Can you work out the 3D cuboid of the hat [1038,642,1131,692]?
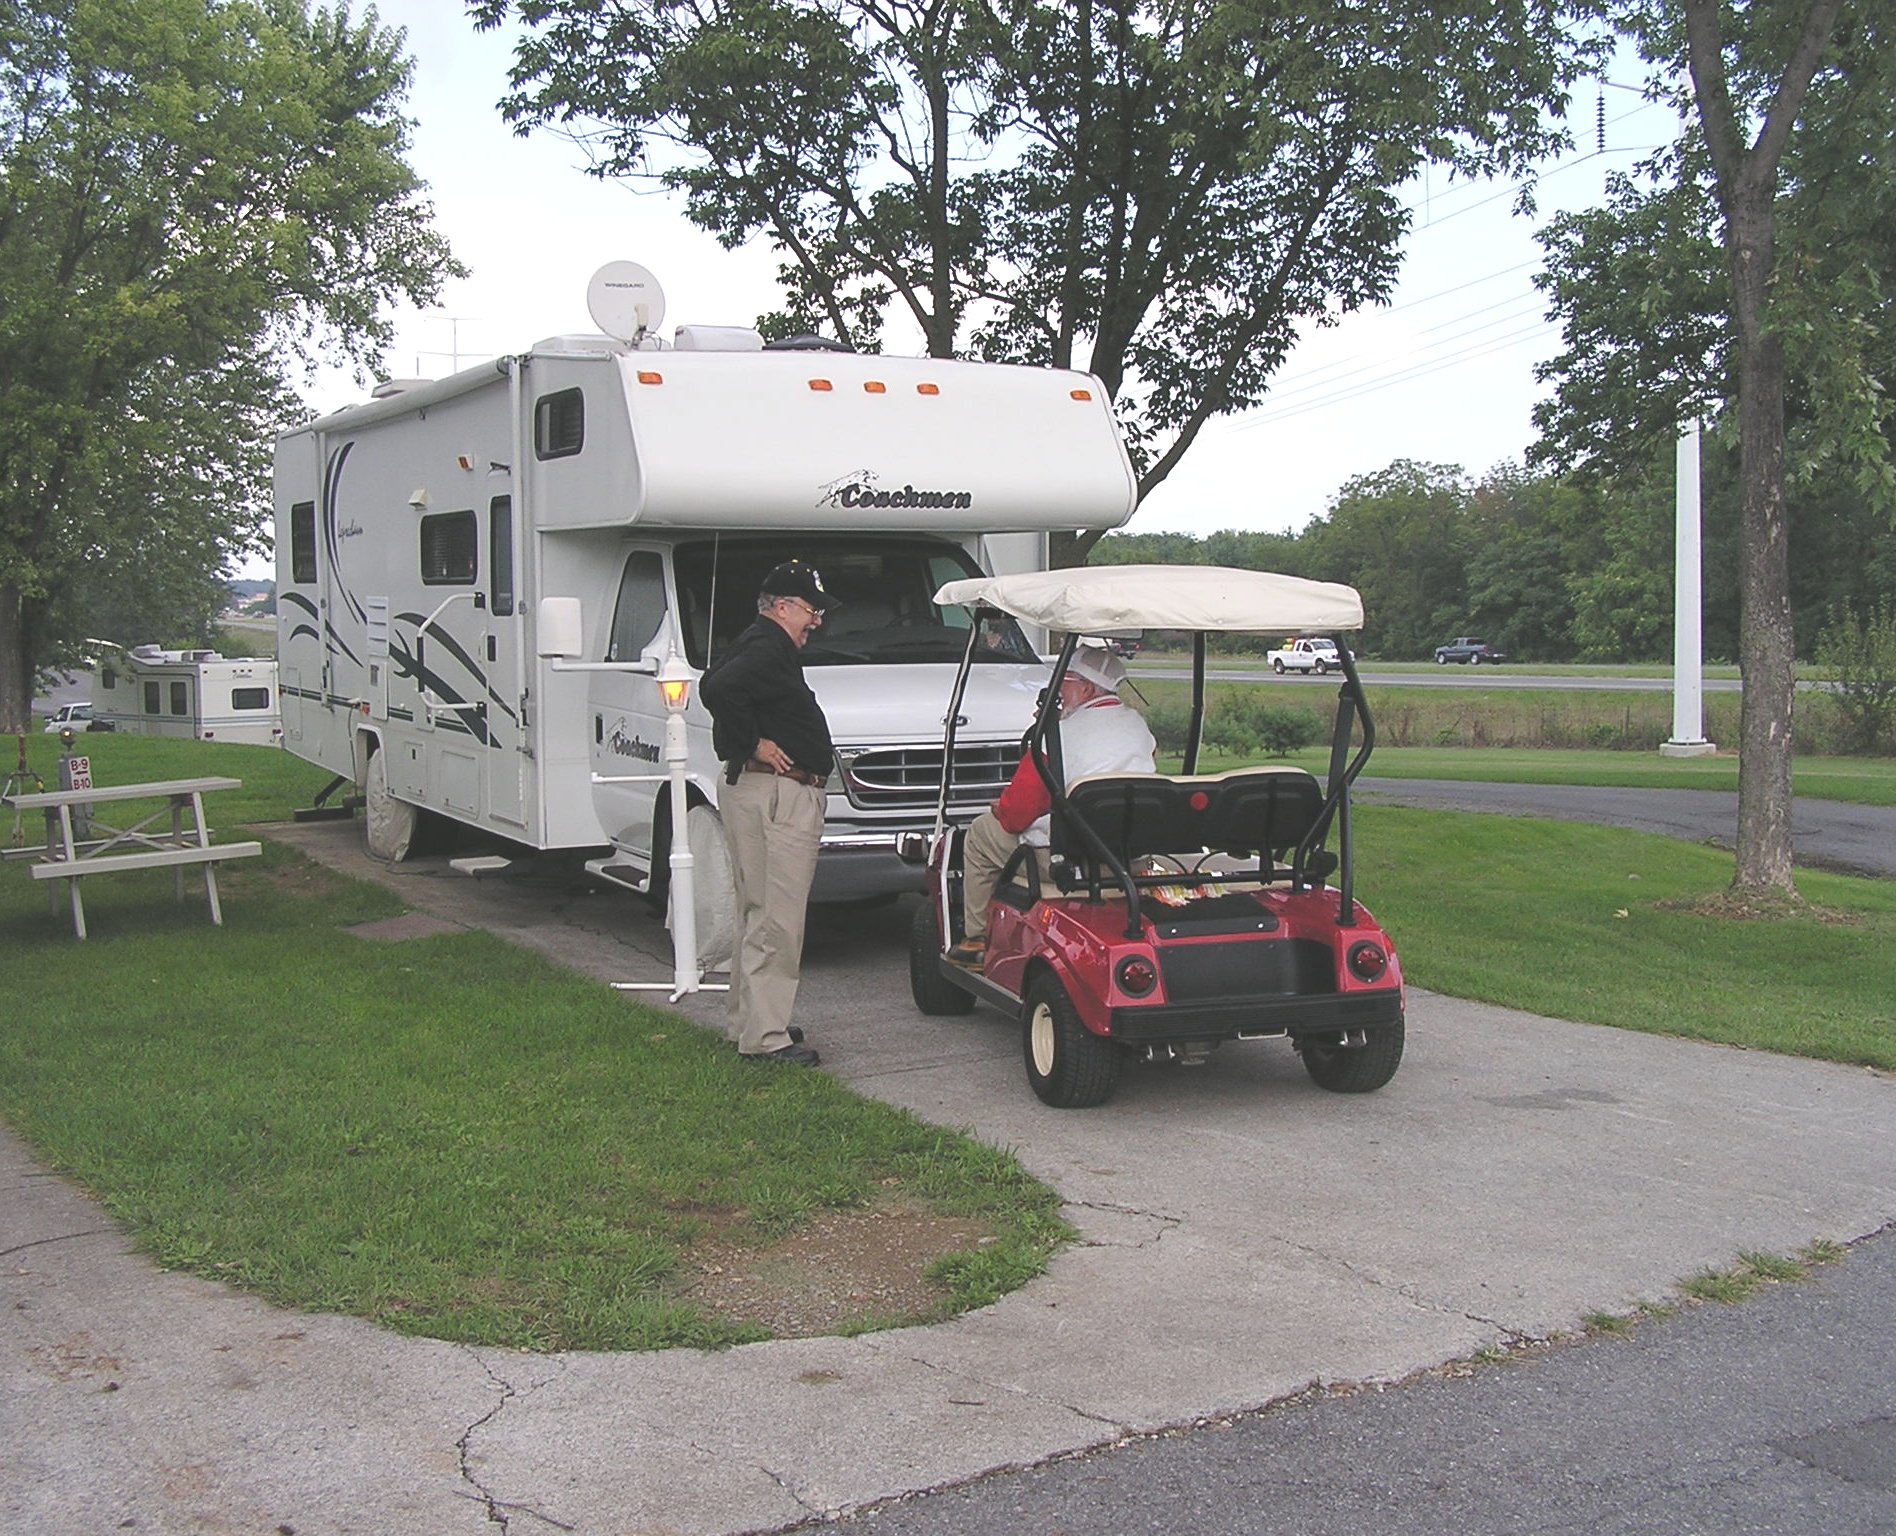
[{"bbox_3d":[0.678,-0.488,8.597,0.314,0.193,0.230,16,7,22],"label":"hat"}]

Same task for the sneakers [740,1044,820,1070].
[{"bbox_3d":[-0.808,1.351,8.411,0.372,0.180,0.132,-3,-1,-8],"label":"sneakers"}]

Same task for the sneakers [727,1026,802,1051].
[{"bbox_3d":[-0.874,1.291,8.368,0.333,0.158,0.118,-3,6,-16],"label":"sneakers"}]

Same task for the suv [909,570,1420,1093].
[{"bbox_3d":[1.216,0.194,8.930,1.770,2.564,2.732,-1,5,-23],"label":"suv"}]

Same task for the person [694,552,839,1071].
[{"bbox_3d":[-0.883,0.207,8.463,0.609,2.345,0.501,0,6,-10],"label":"person"}]

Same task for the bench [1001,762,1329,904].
[{"bbox_3d":[1.084,0.267,8.026,1.293,0.524,0.504,-1,6,-25],"label":"bench"}]

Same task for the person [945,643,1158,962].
[{"bbox_3d":[0.505,0.080,8.450,0.895,1.404,1.406,-2,8,-17],"label":"person"}]
